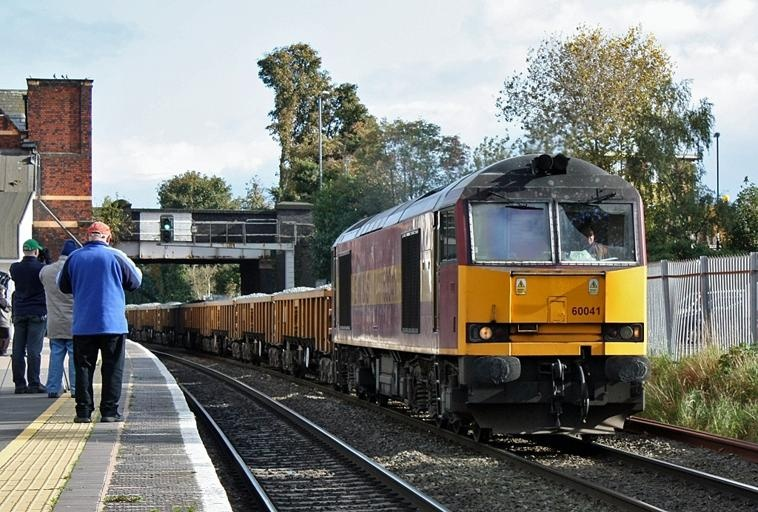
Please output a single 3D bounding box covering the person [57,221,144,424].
[{"bbox_3d":[-3.911,0.904,11.855,1.062,2.768,0.592,0,-4,-11],"label":"person"}]
